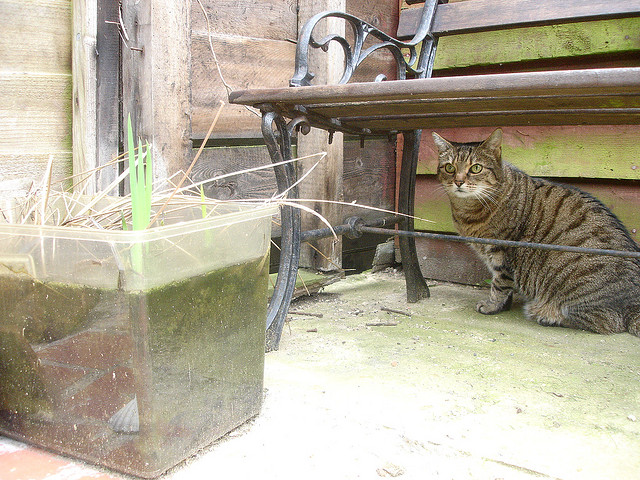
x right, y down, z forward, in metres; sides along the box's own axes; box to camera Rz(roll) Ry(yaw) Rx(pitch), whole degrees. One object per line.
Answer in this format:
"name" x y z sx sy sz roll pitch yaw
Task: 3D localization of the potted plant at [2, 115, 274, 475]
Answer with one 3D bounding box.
"potted plant" -0.402 0.206 1.210 0.606 0.539 0.283 -1 14 -11
